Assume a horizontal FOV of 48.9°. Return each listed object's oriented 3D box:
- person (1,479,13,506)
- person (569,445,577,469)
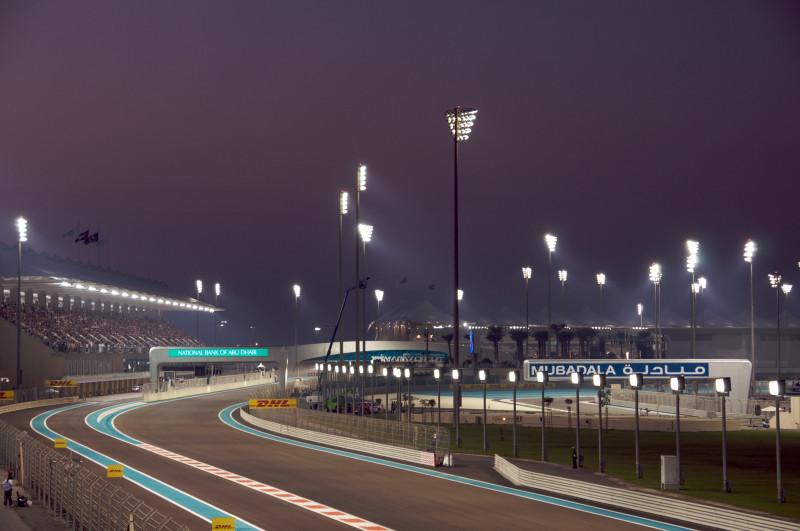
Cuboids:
[{"bbox_3d":[-17.549,10.218,39.487,0.438,1.266,1.208,6,-13,-23],"label":"person"},{"bbox_3d":[9.535,10.553,48.021,0.287,1.191,0.830,-2,-12,13],"label":"person"}]
